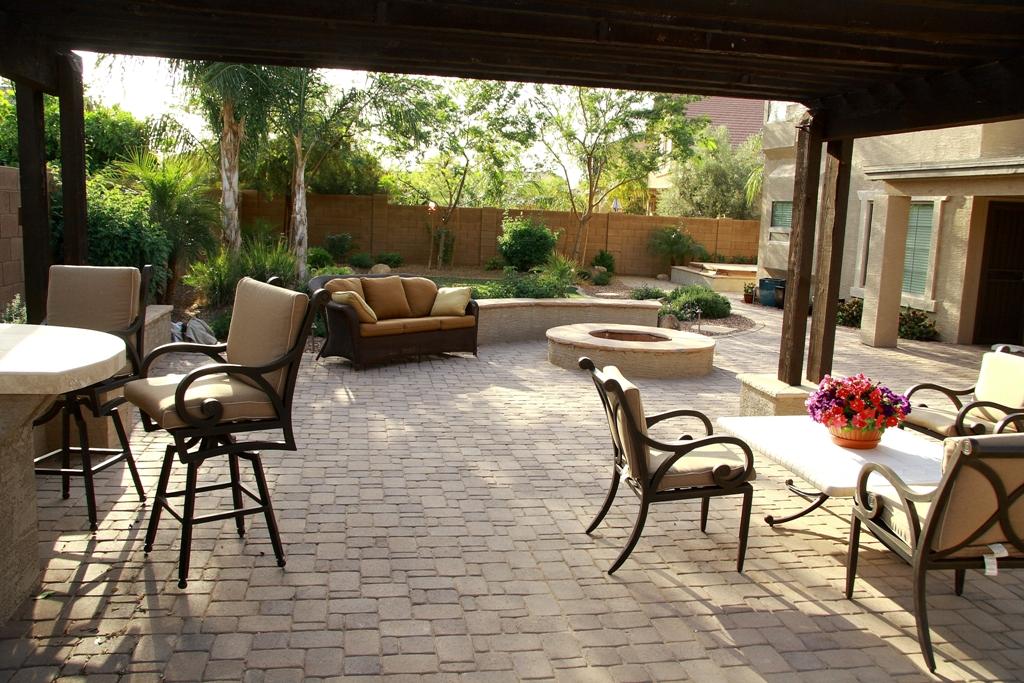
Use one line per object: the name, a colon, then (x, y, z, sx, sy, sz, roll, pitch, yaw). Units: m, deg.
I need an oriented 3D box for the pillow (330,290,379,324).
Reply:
pillow: (-2.115, -0.458, 9.213, 0.578, 0.418, 0.298, -2, 12, -15)
